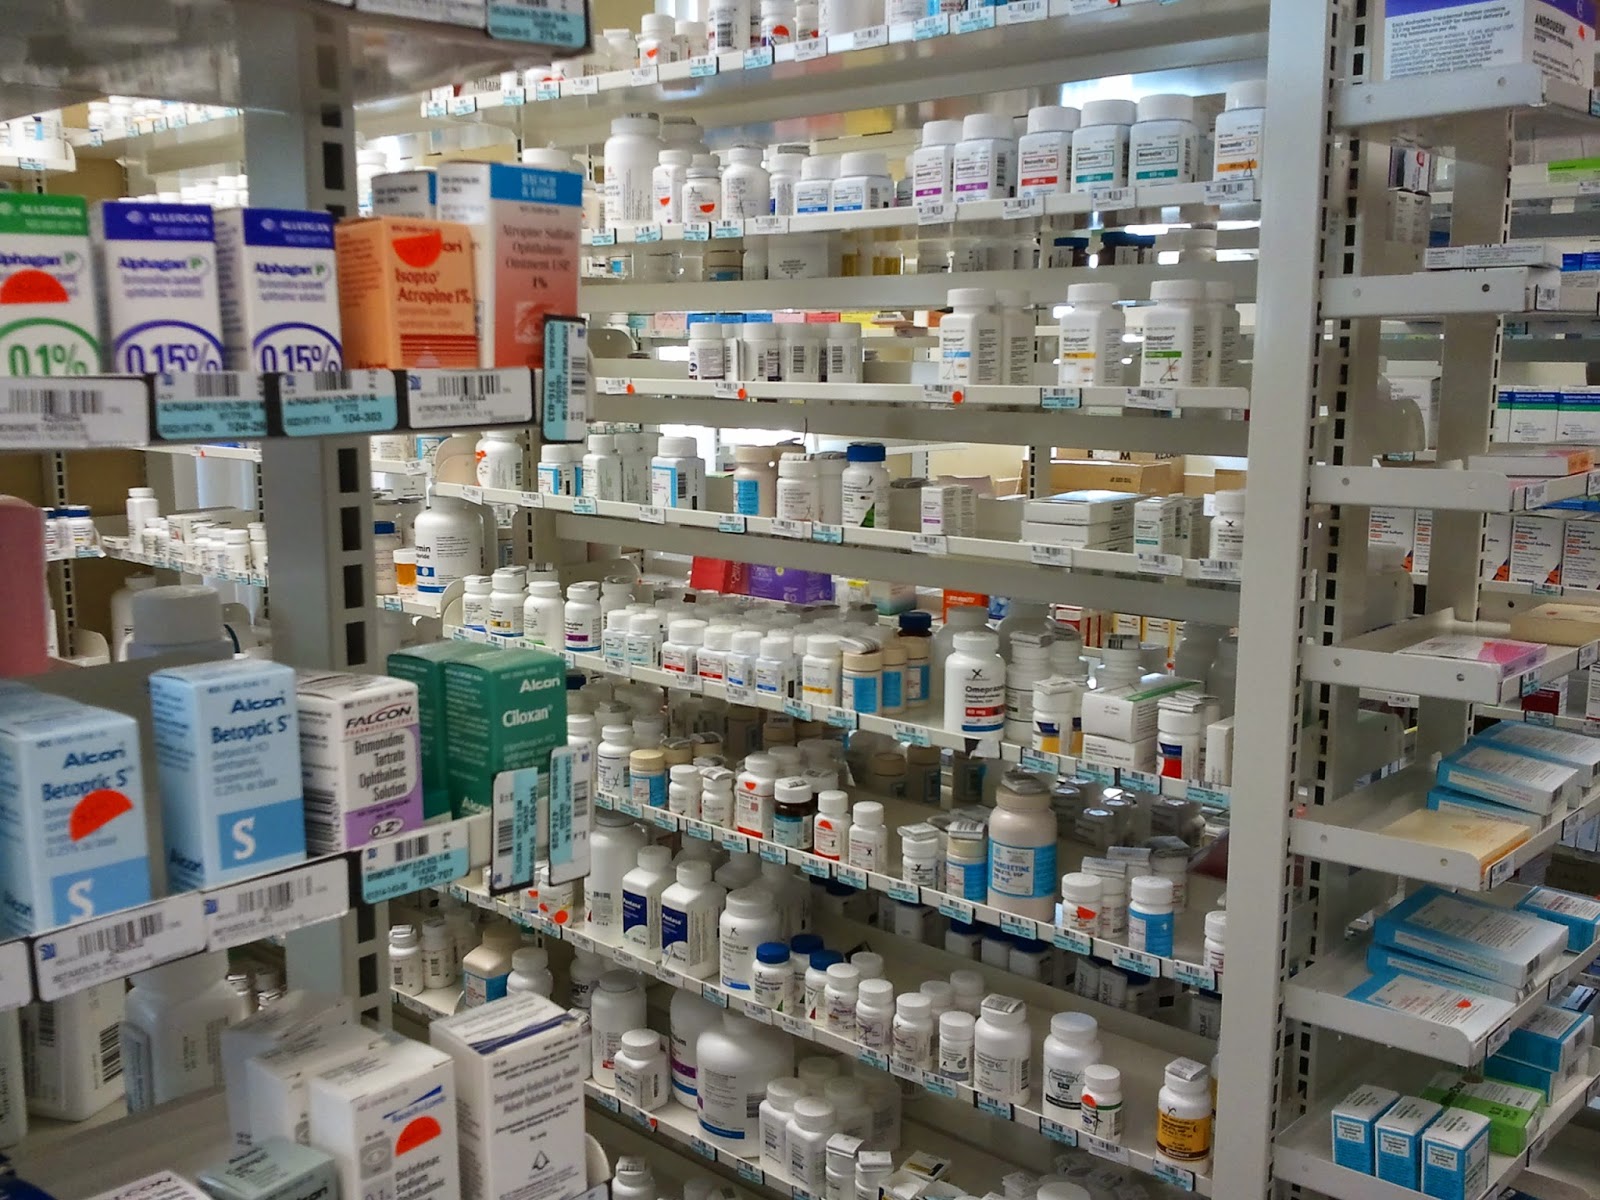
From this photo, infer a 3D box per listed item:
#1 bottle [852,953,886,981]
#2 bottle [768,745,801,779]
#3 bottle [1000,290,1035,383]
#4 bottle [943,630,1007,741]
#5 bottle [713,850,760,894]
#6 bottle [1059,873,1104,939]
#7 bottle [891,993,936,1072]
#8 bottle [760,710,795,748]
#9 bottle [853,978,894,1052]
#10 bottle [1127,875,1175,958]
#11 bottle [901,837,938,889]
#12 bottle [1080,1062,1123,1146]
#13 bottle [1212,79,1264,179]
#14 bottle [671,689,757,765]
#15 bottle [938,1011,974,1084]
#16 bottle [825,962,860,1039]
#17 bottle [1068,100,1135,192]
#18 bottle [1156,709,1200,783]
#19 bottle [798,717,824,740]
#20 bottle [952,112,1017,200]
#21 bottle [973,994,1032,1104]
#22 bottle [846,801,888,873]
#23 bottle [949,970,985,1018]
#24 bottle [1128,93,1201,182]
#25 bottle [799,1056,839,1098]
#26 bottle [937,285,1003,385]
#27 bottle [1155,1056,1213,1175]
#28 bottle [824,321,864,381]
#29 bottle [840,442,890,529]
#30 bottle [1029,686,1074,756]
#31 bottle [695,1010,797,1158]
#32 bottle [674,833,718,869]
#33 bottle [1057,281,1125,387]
[{"bbox_3d":[0.170,0.898,3.315,0.071,0.033,0.062,-1,5,5],"label":"bottle"},{"bbox_3d":[-0.038,0.419,3.522,0.088,0.047,0.076,-2,2,-11],"label":"bottle"},{"bbox_3d":[0.495,-0.592,3.027,0.070,0.198,0.187,0,11,9],"label":"bottle"},{"bbox_3d":[0.393,0.182,3.067,0.150,0.236,0.110,1,12,17],"label":"bottle"},{"bbox_3d":[-0.183,0.754,3.772,0.124,0.093,0.117,0,3,0],"label":"bottle"},{"bbox_3d":[0.607,0.653,2.912,0.100,0.127,0.064,2,12,20],"label":"bottle"},{"bbox_3d":[0.279,1.007,3.135,0.075,0.172,0.109,-13,15,-41],"label":"bottle"},{"bbox_3d":[-0.062,0.367,3.870,0.119,0.078,0.103,-2,9,-8],"label":"bottle"},{"bbox_3d":[0.184,0.985,3.220,0.081,0.161,0.107,-8,13,-26],"label":"bottle"},{"bbox_3d":[0.757,0.657,2.883,0.099,0.173,0.190,1,11,14],"label":"bottle"},{"bbox_3d":[0.290,0.618,3.194,0.088,0.114,0.081,-2,11,0],"label":"bottle"},{"bbox_3d":[0.644,1.057,2.858,0.086,0.160,0.108,0,11,12],"label":"bottle"},{"bbox_3d":[0.833,-0.896,2.544,0.087,0.197,0.189,2,11,18],"label":"bottle"},{"bbox_3d":[-0.241,0.361,3.893,0.172,0.220,0.270,-6,12,-28],"label":"bottle"},{"bbox_3d":[0.357,1.008,3.068,0.084,0.142,0.103,-1,11,5],"label":"bottle"},{"bbox_3d":[0.108,0.965,3.277,0.091,0.155,0.067,4,13,28],"label":"bottle"},{"bbox_3d":[0.622,-0.931,2.744,0.129,0.190,0.102,0,12,10],"label":"bottle"},{"bbox_3d":[0.776,0.291,2.735,0.085,0.150,0.054,0,12,13],"label":"bottle"},{"bbox_3d":[0.033,0.380,3.988,0.084,0.070,0.075,-1,4,-25],"label":"bottle"},{"bbox_3d":[0.392,-0.952,2.899,0.139,0.182,0.113,1,12,15],"label":"bottle"},{"bbox_3d":[0.453,0.990,3.026,0.123,0.217,0.163,-1,11,6],"label":"bottle"},{"bbox_3d":[0.165,0.568,3.313,0.094,0.161,0.166,-2,10,1],"label":"bottle"},{"bbox_3d":[0.386,0.925,3.171,0.104,0.074,0.091,-1,5,4],"label":"bottle"},{"bbox_3d":[0.724,-0.920,2.688,0.129,0.187,0.152,3,12,22],"label":"bottle"},{"bbox_3d":[0.045,1.214,3.439,0.103,0.048,0.089,-1,4,4],"label":"bottle"},{"bbox_3d":[0.387,-0.591,2.995,0.145,0.221,0.137,-2,11,0],"label":"bottle"},{"bbox_3d":[0.802,1.039,2.795,0.112,0.183,0.170,1,11,14],"label":"bottle"},{"bbox_3d":[0.108,-0.614,3.312,0.087,0.144,0.117,-3,11,-3],"label":"bottle"},{"bbox_3d":[0.161,-0.285,3.292,0.109,0.201,0.083,-2,12,-1],"label":"bottle"},{"bbox_3d":[0.555,0.251,2.919,0.088,0.155,0.063,-1,12,8],"label":"bottle"},{"bbox_3d":[-0.176,1.243,3.509,0.353,0.297,0.306,2,3,-6],"label":"bottle"},{"bbox_3d":[-0.303,0.706,3.857,0.119,0.090,0.117,2,8,0],"label":"bottle"},{"bbox_3d":[0.622,-0.565,2.850,0.129,0.220,0.188,0,11,12],"label":"bottle"}]
